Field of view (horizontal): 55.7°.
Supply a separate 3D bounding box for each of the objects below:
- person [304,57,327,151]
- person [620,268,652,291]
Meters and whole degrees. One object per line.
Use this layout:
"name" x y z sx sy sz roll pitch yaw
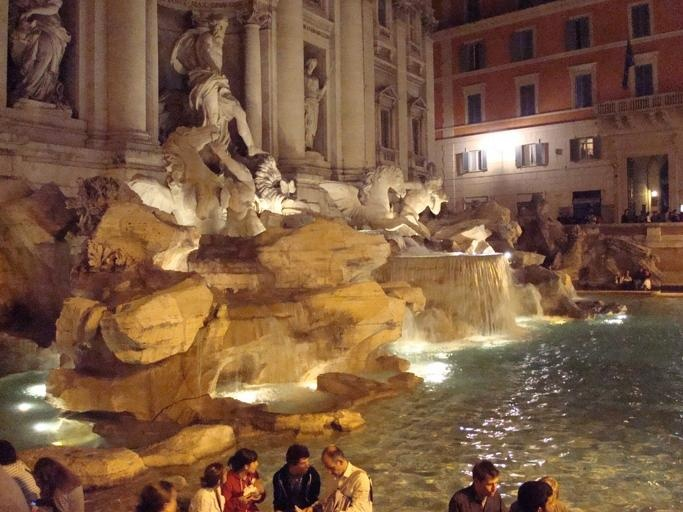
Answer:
"person" -0.959 -5.014 21.035 0.573 3.157 1.107 1 2 22
"person" 9.351 0.825 20.813 0.718 0.402 0.965 1 5 8
